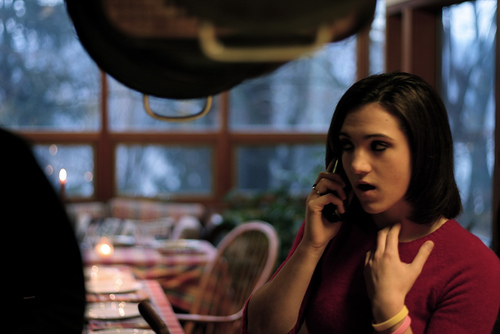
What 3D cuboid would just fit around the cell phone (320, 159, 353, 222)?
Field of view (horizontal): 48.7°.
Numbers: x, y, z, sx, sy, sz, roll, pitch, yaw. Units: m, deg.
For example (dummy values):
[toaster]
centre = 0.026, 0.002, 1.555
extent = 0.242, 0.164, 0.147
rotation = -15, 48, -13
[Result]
[cell phone]
centre = 0.253, 0.058, 1.614
extent = 0.087, 0.183, 0.043
rotation = 9, 19, 42
